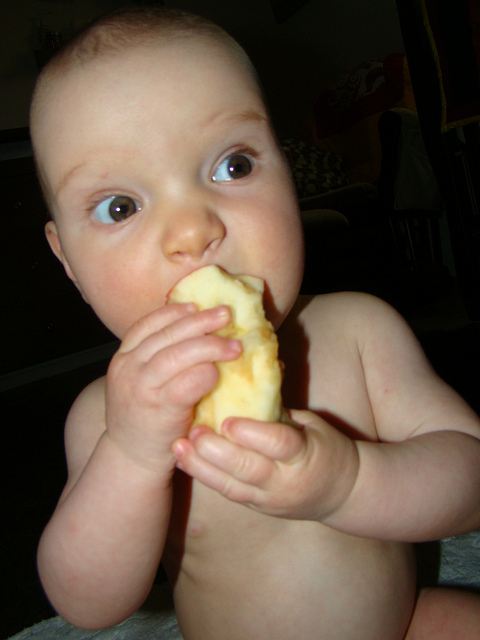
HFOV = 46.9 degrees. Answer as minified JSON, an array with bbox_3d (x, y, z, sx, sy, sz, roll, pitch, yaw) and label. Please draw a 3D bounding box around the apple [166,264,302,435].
[{"bbox_3d":[-0.009,0.024,0.693,0.140,0.202,0.057,-8,7,0],"label":"apple"}]
